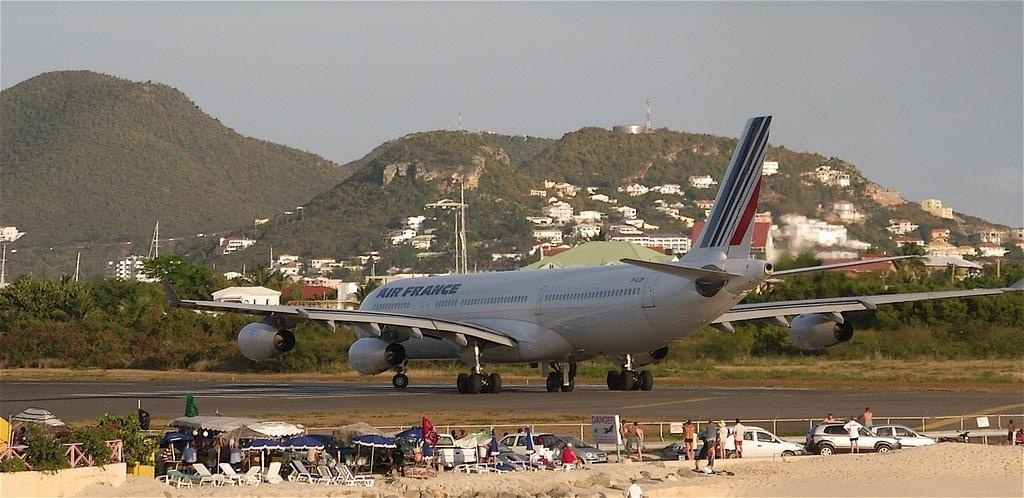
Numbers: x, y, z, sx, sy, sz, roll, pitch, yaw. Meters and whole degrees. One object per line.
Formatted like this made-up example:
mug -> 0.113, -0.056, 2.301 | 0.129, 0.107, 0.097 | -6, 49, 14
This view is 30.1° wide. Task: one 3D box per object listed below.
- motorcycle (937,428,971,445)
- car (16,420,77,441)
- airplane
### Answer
motorcycle -> 51.431, 21.607, 221.766 | 3.607, 1.506, 1.452 | -4, 1, 0
car -> -54.018, 20.373, 217.547 | 6.316, 2.303, 3.276 | 1, -9, -8
airplane -> 2.365, 7.270, 232.986 | 54.433, 15.083, 60.962 | -1, -2, 42
